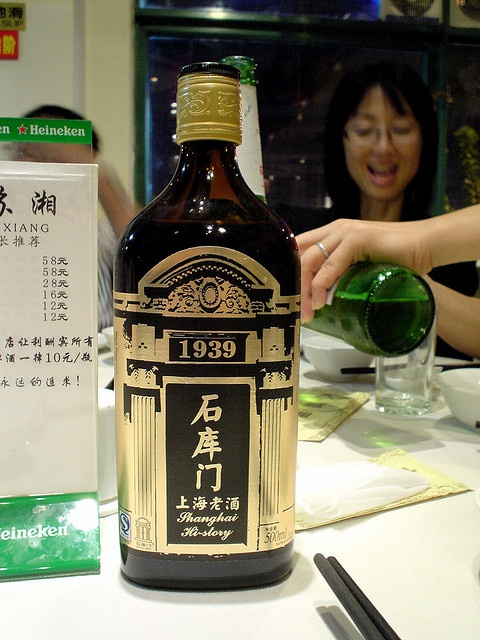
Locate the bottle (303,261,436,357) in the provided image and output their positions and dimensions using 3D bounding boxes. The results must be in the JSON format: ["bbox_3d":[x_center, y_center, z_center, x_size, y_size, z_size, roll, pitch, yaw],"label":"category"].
[{"bbox_3d":[0.145,-0.020,0.722,0.094,0.094,0.210,0,8,-7],"label":"bottle"}]

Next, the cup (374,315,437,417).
[{"bbox_3d":[0.231,0.062,0.874,0.092,0.133,0.088,4,-2,0],"label":"cup"}]

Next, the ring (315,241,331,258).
[{"bbox_3d":[0.111,-0.093,0.842,0.014,0.022,0.024,-3,9,-25],"label":"ring"}]

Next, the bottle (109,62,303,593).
[{"bbox_3d":[-0.019,0.029,0.400,0.112,0.281,0.055,0,9,-6],"label":"bottle"}]

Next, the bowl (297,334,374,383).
[{"bbox_3d":[0.147,0.063,1.008,0.095,0.042,0.094,0,-6,0],"label":"bowl"}]
